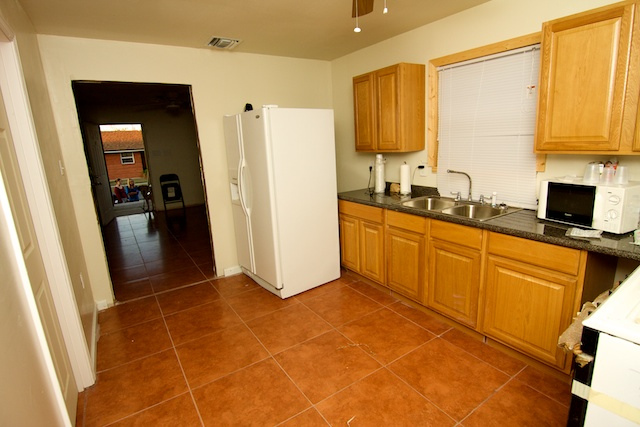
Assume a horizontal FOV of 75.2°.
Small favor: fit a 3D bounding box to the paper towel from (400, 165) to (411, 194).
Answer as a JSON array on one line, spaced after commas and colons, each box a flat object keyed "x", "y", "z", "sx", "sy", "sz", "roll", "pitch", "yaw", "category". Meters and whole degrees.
[{"x": 0.979, "y": -0.397, "z": 4.782, "sx": 0.132, "sy": 0.339, "sz": 0.081, "roll": -4, "pitch": 13, "yaw": 3, "category": "paper towel"}]

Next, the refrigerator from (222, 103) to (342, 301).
[{"x": -0.390, "y": -0.137, "z": 4.688, "sx": 1.230, "sy": 2.083, "sz": 0.759, "roll": -5, "pitch": 13, "yaw": -4, "category": "refrigerator"}]

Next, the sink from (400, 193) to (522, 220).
[{"x": 1.436, "y": -0.059, "z": 4.251, "sx": 1.106, "sy": 0.194, "sz": 0.460, "roll": 6, "pitch": 16, "yaw": 40, "category": "sink"}]

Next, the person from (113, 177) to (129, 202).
[{"x": -5.147, "y": -0.626, "z": 10.680, "sx": 0.313, "sy": 0.569, "sz": 1.141, "roll": -11, "pitch": 14, "yaw": -25, "category": "person"}]

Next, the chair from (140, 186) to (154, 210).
[{"x": -3.887, "y": -0.409, "z": 9.400, "sx": 0.363, "sy": 0.587, "sz": 0.177, "roll": 11, "pitch": 16, "yaw": 42, "category": "chair"}]

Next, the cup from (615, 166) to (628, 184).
[{"x": 2.360, "y": -0.303, "z": 3.249, "sx": 0.082, "sy": 0.132, "sz": 0.076, "roll": -4, "pitch": 13, "yaw": 1, "category": "cup"}]

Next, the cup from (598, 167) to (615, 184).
[{"x": 2.296, "y": -0.305, "z": 3.313, "sx": 0.132, "sy": 0.136, "sz": 0.129, "roll": -1, "pitch": 9, "yaw": 0, "category": "cup"}]

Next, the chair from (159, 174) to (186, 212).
[{"x": -3.377, "y": -0.462, "z": 9.203, "sx": 0.705, "sy": 0.860, "sz": 0.732, "roll": -11, "pitch": 4, "yaw": -21, "category": "chair"}]

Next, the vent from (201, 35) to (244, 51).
[{"x": -1.094, "y": -1.925, "z": 4.664, "sx": 0.382, "sy": 0.068, "sz": 0.390, "roll": -11, "pitch": 14, "yaw": -30, "category": "vent"}]

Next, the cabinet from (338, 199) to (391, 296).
[{"x": 0.685, "y": 0.288, "z": 4.930, "sx": 0.633, "sy": 1.050, "sz": 0.847, "roll": -12, "pitch": 18, "yaw": -25, "category": "cabinet"}]

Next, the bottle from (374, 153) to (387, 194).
[{"x": 0.737, "y": -0.502, "z": 5.066, "sx": 0.169, "sy": 0.457, "sz": 0.447, "roll": -3, "pitch": 13, "yaw": 8, "category": "bottle"}]
